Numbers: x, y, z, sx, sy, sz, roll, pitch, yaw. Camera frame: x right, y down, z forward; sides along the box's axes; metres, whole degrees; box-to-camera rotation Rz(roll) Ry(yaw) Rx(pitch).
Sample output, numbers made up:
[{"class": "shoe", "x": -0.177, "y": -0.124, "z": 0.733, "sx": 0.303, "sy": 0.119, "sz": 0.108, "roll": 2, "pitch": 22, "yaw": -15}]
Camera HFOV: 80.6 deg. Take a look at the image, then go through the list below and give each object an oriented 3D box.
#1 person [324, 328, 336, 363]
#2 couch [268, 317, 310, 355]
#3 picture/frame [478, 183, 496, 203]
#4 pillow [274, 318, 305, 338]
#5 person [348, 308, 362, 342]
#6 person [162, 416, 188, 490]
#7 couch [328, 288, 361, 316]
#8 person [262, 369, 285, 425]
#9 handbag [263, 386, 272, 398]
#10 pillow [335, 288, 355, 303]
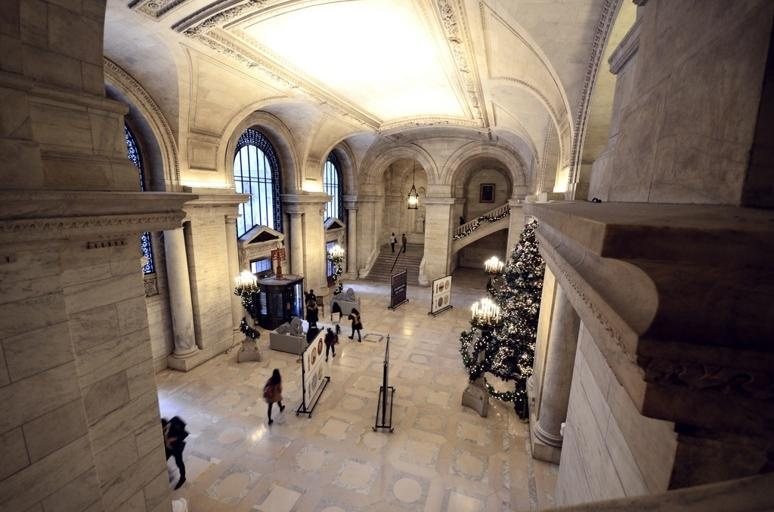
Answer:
[{"class": "person", "x": -1.371, "y": 2.159, "z": 11.150, "sx": 0.243, "sy": 0.718, "sz": 0.778, "roll": -1, "pitch": 8, "yaw": -5}, {"class": "couch", "x": -2.521, "y": 2.105, "z": 11.870, "sx": 1.048, "sy": 0.748, "sz": 0.623, "roll": 4, "pitch": 9, "yaw": 25}, {"class": "picture/frame", "x": 5.096, "y": -3.232, "z": 23.367, "sx": 0.970, "sy": 1.142, "sz": 0.111, "roll": 9, "pitch": 22, "yaw": 21}, {"class": "pillow", "x": -2.505, "y": 1.908, "z": 11.999, "sx": 0.460, "sy": 0.218, "sz": 0.621, "roll": 8, "pitch": 11, "yaw": 23}, {"class": "person", "x": -0.891, "y": 1.855, "z": 12.517, "sx": 0.337, "sy": 0.874, "sz": 0.653, "roll": -1, "pitch": 8, "yaw": -4}, {"class": "person", "x": -3.357, "y": 3.029, "z": 7.274, "sx": 0.323, "sy": 1.122, "sz": 0.639, "roll": -5, "pitch": 10, "yaw": -27}, {"class": "couch", "x": -1.312, "y": 1.433, "z": 14.934, "sx": 0.949, "sy": 0.974, "sz": 0.886, "roll": 5, "pitch": 22, "yaw": 11}, {"class": "person", "x": -2.175, "y": 2.547, "z": 8.767, "sx": 0.380, "sy": 1.072, "sz": 0.975, "roll": -2, "pitch": 8, "yaw": -14}, {"class": "handbag", "x": -2.190, "y": 2.479, "z": 8.334, "sx": 0.136, "sy": 0.208, "sz": 0.162, "roll": -3, "pitch": 9, "yaw": -17}, {"class": "pillow", "x": -1.371, "y": 1.320, "z": 14.926, "sx": 0.435, "sy": 0.221, "sz": 0.568, "roll": 1, "pitch": 11, "yaw": 0}]
